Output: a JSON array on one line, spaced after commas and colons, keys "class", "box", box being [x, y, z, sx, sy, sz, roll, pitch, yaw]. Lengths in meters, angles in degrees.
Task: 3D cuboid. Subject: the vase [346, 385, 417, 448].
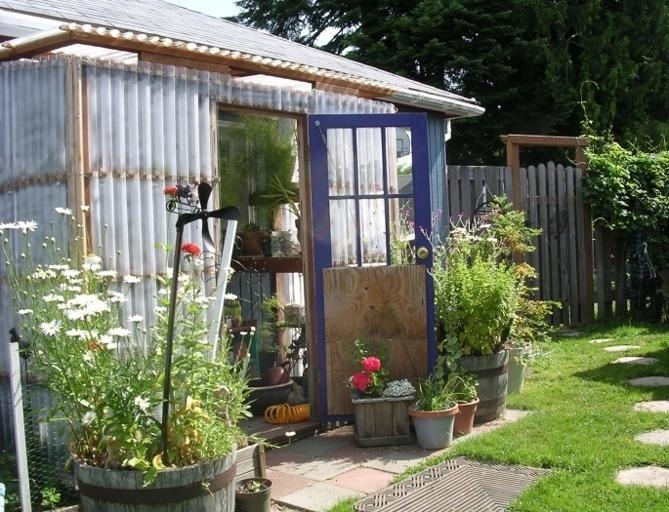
[{"class": "vase", "box": [0.370, 1.293, 5.540, 0.358, 0.330, 0.412, -1, -1, -1]}]

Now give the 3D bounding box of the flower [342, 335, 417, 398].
[{"class": "flower", "box": [0.381, 0.791, 5.550, 0.524, 0.445, 0.385, 0, 4, 6]}]

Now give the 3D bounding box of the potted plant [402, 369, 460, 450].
[{"class": "potted plant", "box": [0.786, 1.222, 5.526, 0.448, 0.641, 0.433, 0, 0, 30]}]

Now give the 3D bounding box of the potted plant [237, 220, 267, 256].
[{"class": "potted plant", "box": [-0.896, -0.206, 7.402, 0.282, 0.253, 0.309, 0, 2, -7]}]

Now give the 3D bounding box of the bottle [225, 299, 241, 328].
[{"class": "bottle", "box": [-1.045, 0.587, 7.017, 0.195, 0.380, 0.231, -1, -6, 7]}]

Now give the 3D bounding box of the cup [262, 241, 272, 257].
[{"class": "cup", "box": [-0.700, -0.082, 7.237, 0.126, 0.217, 0.139, 2, 0, 9]}]

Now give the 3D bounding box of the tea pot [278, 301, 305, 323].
[{"class": "tea pot", "box": [-0.406, 0.561, 7.003, 0.190, 0.216, 0.197, 0, -1, 0]}]
